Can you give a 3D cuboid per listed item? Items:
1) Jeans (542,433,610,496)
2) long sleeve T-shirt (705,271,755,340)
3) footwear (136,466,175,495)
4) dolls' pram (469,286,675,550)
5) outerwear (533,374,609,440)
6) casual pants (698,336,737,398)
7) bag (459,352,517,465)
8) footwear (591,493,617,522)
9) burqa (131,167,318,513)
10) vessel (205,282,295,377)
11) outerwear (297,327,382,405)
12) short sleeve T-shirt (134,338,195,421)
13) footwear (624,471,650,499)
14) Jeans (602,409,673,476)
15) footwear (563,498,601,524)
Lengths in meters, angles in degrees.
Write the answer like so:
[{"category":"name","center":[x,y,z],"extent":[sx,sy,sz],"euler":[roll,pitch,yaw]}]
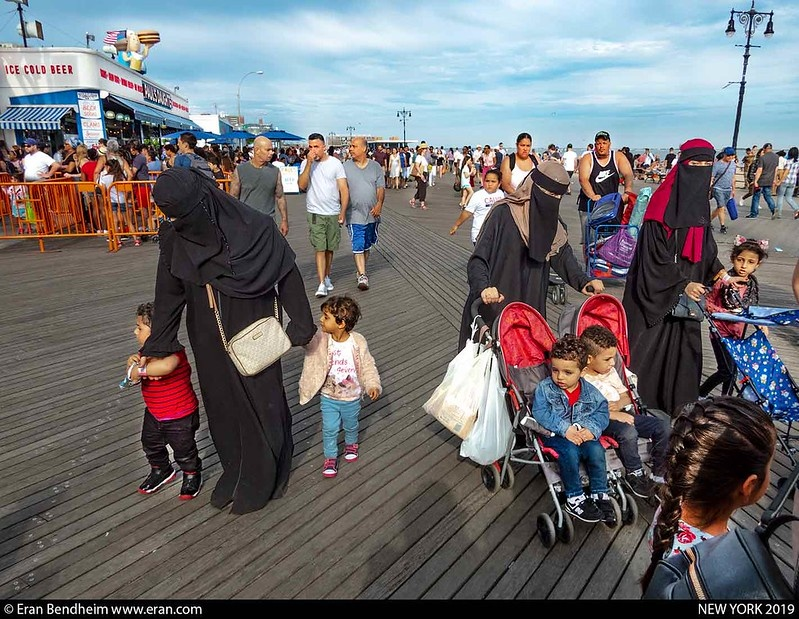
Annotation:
[{"category":"Jeans","center":[1.172,1.000,3.322],"extent":[0.244,0.437,0.141],"euler":[-1,-1,1]},{"category":"long sleeve T-shirt","center":[2.765,-0.037,4.217],"extent":[0.438,0.602,0.240],"euler":[1,-4,-13]},{"category":"footwear","center":[-1.810,1.257,3.806],"extent":[0.104,0.139,0.303],"euler":[9,10,18]},{"category":"dolls' pram","center":[1.543,0.681,4.011],"extent":[1.225,2.031,1.671],"euler":[-2,1,-20]},{"category":"outerwear","center":[1.210,0.655,3.452],"extent":[0.432,0.427,0.311],"euler":[9,25,24]},{"category":"casual pants","center":[2.902,0.541,4.616],"extent":[0.334,0.685,0.184],"euler":[-11,49,29]},{"category":"bag","center":[0.627,0.707,3.455],"extent":[0.310,0.660,0.239],"euler":[-15,23,-41]},{"category":"footwear","center":[1.311,1.270,3.291],"extent":[0.096,0.129,0.274],"euler":[-2,2,-1]},{"category":"burqa","center":[-1.119,0.248,3.421],"extent":[1.054,2.319,0.520],"euler":[-10,20,-30]},{"category":"vessel","center":[-1.013,0.125,3.330],"extent":[0.222,0.599,0.416],"euler":[-1,26,45]},{"category":"outerwear","center":[-0.449,0.431,3.866],"extent":[0.618,0.584,0.330],"euler":[0,-6,-13]},{"category":"short sleeve T-shirt","center":[-1.651,0.502,3.572],"extent":[0.380,0.525,0.310],"euler":[17,31,12]},{"category":"footwear","center":[1.593,1.163,3.407],"extent":[0.117,0.101,0.224],"euler":[-8,26,2]},{"category":"Jeans","center":[1.647,0.890,3.592],"extent":[0.394,0.252,0.563],"euler":[-4,37,1]},{"category":"footwear","center":[1.165,1.281,3.273],"extent":[0.113,0.135,0.277],"euler":[-6,6,-40]}]
